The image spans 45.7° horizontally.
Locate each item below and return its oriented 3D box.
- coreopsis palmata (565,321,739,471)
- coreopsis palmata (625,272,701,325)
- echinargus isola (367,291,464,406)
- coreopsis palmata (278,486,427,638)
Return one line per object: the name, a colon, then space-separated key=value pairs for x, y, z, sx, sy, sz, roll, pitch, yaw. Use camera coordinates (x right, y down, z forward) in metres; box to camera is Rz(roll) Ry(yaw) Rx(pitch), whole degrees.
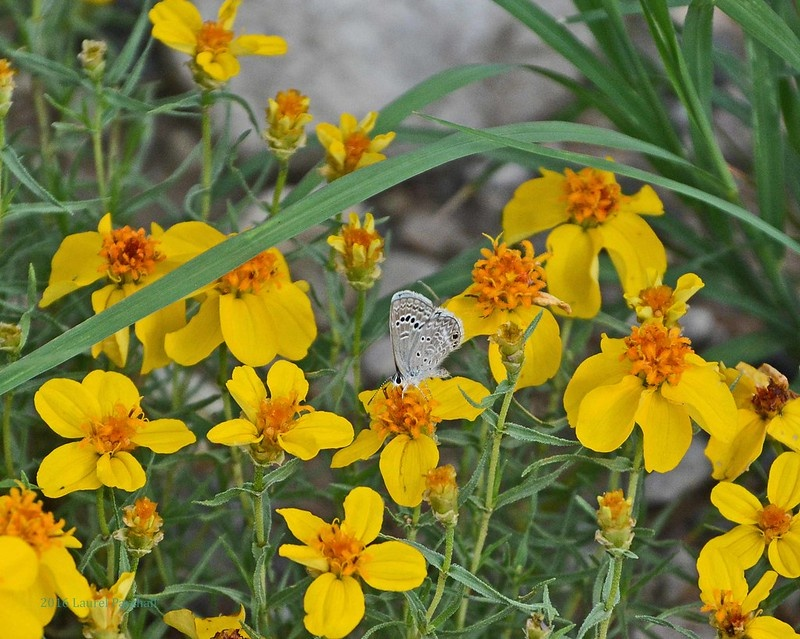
coreopsis palmata: x=0.383 y=0.097 z=1.468 sx=0.241 sy=0.278 sz=0.169 roll=10 pitch=-71 yaw=18
coreopsis palmata: x=0.406 y=-0.029 z=1.466 sx=0.087 sy=0.087 sz=0.049 roll=-2 pitch=-52 yaw=47
echinargus isola: x=0.034 y=0.026 z=1.493 sx=0.111 sy=0.223 sz=0.161 roll=9 pitch=-66 yaw=11
coreopsis palmata: x=-0.067 y=0.341 z=1.315 sx=0.192 sy=0.193 sz=0.079 roll=31 pitch=-28 yaw=10
